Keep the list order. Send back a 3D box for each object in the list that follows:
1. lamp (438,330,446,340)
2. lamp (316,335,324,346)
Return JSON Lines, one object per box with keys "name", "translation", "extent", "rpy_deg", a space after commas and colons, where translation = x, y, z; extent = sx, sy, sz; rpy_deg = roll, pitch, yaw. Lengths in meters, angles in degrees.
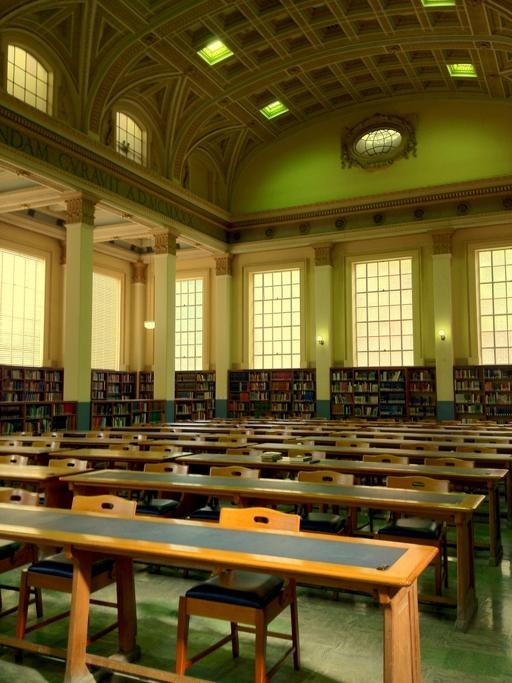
{"name": "lamp", "translation": [4.846, -0.183, 13.714], "extent": [0.166, 0.275, 0.076], "rpy_deg": [-3, -3, 15]}
{"name": "lamp", "translation": [1.849, -0.052, 15.002], "extent": [0.204, 0.272, 0.226], "rpy_deg": [-3, -7, 44]}
